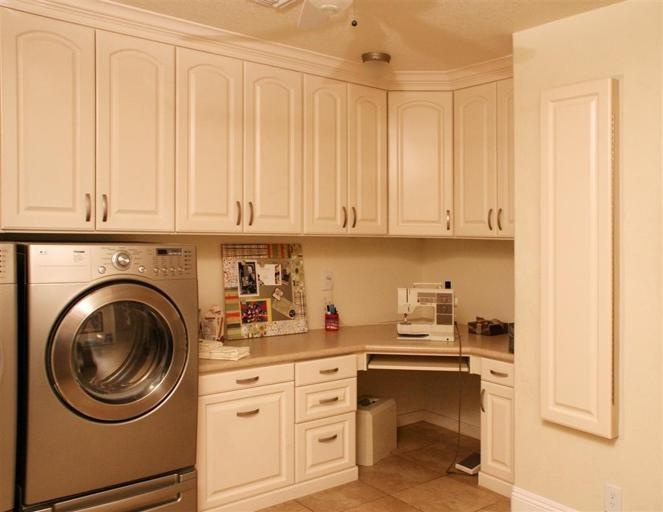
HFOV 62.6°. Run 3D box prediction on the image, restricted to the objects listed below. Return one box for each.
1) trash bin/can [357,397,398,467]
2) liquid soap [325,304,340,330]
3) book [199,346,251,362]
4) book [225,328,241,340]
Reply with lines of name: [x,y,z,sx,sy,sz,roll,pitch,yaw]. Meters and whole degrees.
trash bin/can: [0.316,1.241,3.812,0.226,0.347,0.429,-1,-2,34]
liquid soap: [-0.006,0.448,4.097,0.097,0.190,0.168,-3,3,-1]
book: [-0.625,0.560,3.138,0.283,0.060,0.143,-3,2,-5]
book: [-0.650,0.511,3.628,0.087,0.079,0.019,-2,-6,-27]
